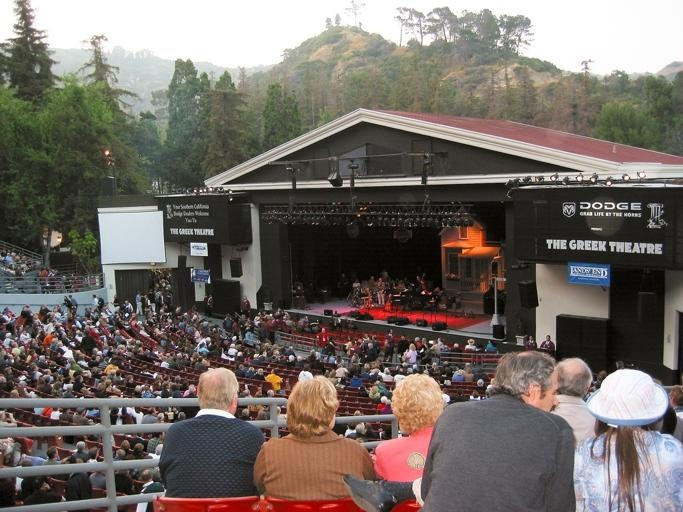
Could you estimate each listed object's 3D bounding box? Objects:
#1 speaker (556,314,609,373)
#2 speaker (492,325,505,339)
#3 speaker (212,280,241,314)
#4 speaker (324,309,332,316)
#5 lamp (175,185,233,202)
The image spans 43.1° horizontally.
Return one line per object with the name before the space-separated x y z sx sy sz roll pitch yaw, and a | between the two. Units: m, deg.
speaker | 7.874 2.777 28.051 0.626 2.092 1.892 2 -5 -40
speaker | 6.095 2.921 33.715 0.420 0.449 0.234 12 19 43
speaker | -5.829 2.050 44.121 0.504 1.549 1.500 -6 6 -38
speaker | -0.622 2.602 40.177 0.365 0.298 0.216 0 6 4
lamp | -6.620 -3.122 43.390 3.417 0.825 1.375 1 -4 36
